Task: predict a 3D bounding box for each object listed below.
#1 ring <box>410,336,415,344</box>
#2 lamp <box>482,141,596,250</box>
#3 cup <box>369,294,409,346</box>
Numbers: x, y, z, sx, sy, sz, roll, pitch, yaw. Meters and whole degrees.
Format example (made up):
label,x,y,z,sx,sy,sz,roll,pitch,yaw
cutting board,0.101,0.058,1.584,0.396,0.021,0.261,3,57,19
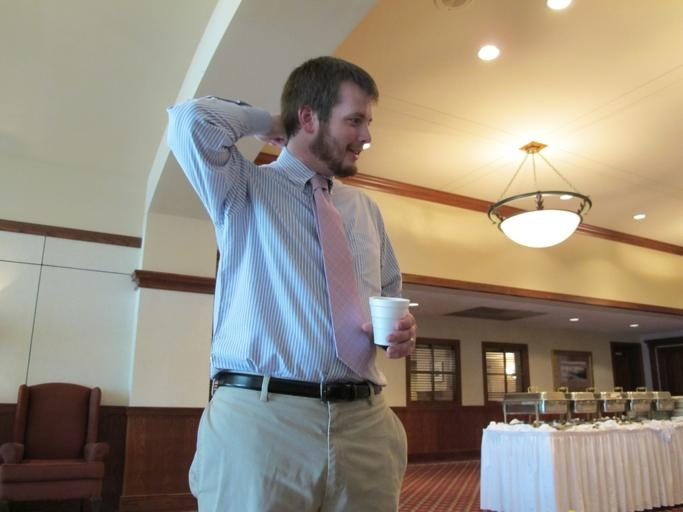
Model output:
label,x,y,z,sx,sy,sz,roll,pitch,yaw
ring,0.258,0.303,1.835,0.016,0.027,0.027,-1,26,0
lamp,2.210,-0.716,5.750,0.955,1.256,0.998,-3,-8,8
cup,0.164,0.229,1.812,0.138,0.162,0.146,3,-3,0
